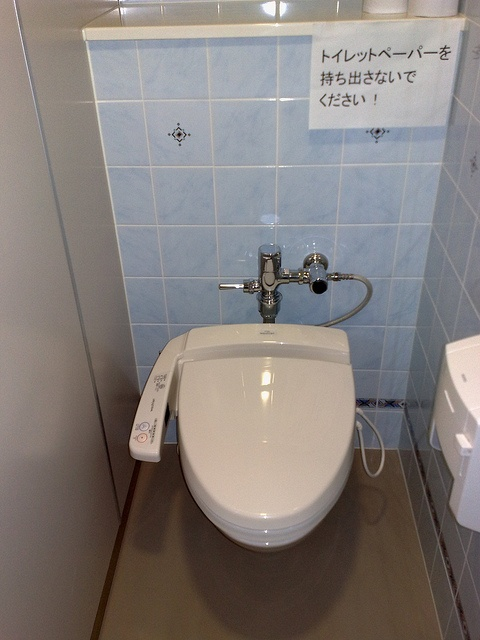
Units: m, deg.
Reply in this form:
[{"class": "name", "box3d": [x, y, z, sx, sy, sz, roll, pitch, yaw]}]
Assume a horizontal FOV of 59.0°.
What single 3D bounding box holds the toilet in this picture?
[{"class": "toilet", "box3d": [0.023, 0.263, 0.993, 0.465, 0.269, 0.643, 0, 28, 5]}]
